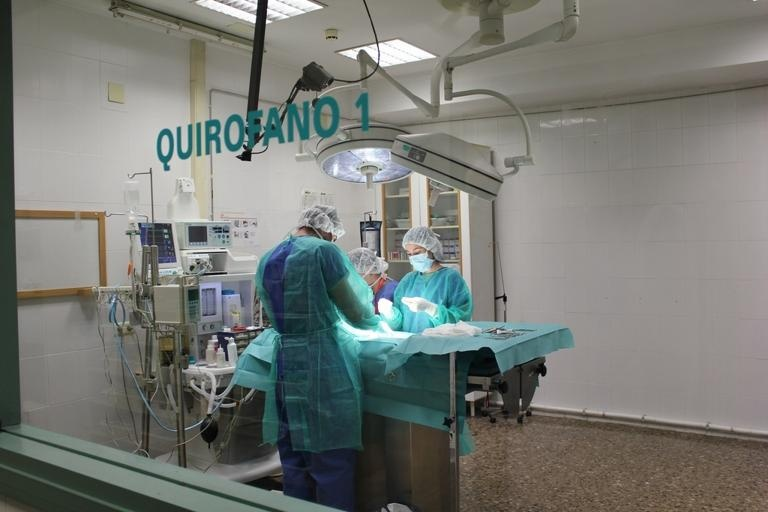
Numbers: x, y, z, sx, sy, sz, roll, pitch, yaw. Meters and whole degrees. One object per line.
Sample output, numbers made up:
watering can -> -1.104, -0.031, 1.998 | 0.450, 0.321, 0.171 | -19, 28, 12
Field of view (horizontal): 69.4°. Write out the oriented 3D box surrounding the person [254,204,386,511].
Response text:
person -> -0.299, 0.430, 2.228 | 0.445, 1.104, 0.246 | 0, 4, 10

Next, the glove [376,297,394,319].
glove -> 0.003, 0.255, 2.686 | 0.087, 0.133, 0.074 | 3, -13, 2

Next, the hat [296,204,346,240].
hat -> -0.247, -0.134, 2.164 | 0.146, 0.121, 0.119 | -1, 6, -29

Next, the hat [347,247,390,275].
hat -> -0.075, 0.027, 2.357 | 0.103, 0.054, 0.135 | -18, 33, -38
